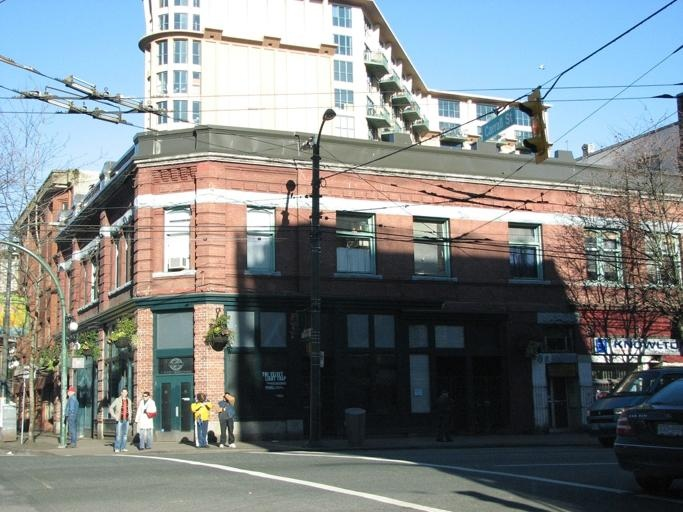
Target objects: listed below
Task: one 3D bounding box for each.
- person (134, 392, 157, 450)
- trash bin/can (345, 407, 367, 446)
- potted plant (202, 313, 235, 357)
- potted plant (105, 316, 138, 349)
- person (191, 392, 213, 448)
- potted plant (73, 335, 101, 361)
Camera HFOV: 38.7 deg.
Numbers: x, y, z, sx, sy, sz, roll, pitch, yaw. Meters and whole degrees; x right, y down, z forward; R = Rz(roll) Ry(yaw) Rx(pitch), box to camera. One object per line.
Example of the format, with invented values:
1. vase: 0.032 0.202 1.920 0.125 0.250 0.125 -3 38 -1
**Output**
1. person: -7.029 5.879 34.747 0.625 2.098 0.808 2 -16 -11
2. trash bin/can: 0.487 6.291 35.667 0.675 1.387 1.012 0 -15 -4
3. potted plant: -4.701 2.997 37.847 1.021 1.132 0.813 4 -3 2
4. potted plant: -8.872 3.123 39.295 1.606 1.162 1.609 8 -9 -36
5. person: -5.106 5.951 35.181 0.623 1.974 0.689 1 -16 -8
6. potted plant: -11.531 4.256 44.241 1.519 0.765 1.291 4 3 -6
